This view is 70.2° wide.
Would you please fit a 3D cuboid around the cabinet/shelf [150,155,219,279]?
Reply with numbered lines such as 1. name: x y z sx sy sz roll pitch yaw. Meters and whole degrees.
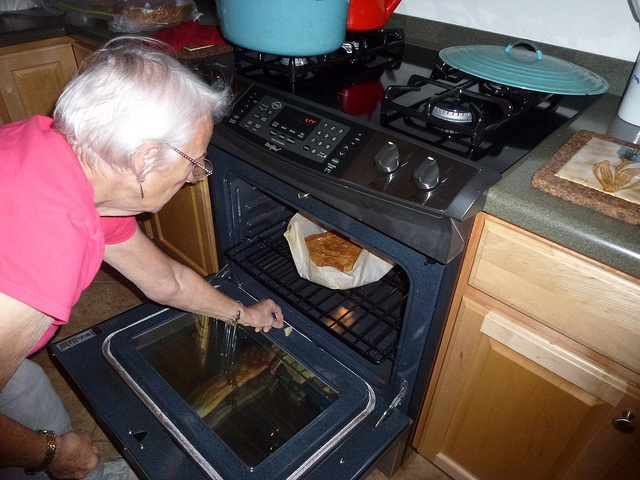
1. cabinet/shelf: -0.401 -0.062 1.387 0.198 0.293 0.208 -33 58 -28

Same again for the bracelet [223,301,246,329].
1. bracelet: -0.246 0.222 1.353 0.059 0.031 0.078 9 77 31

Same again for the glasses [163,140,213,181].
1. glasses: -0.269 -0.163 1.003 0.083 0.026 0.080 29 8 19
